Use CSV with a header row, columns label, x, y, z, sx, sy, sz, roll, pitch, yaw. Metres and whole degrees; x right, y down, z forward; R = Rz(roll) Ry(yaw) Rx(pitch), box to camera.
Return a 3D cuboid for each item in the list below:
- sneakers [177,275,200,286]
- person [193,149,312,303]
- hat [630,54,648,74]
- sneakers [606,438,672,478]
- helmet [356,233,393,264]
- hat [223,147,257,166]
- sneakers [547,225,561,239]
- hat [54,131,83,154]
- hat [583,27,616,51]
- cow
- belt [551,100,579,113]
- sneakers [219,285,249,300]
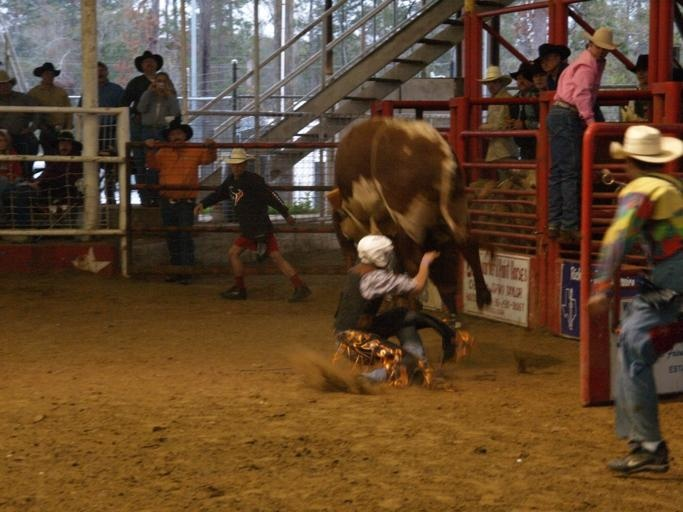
label,x,y,z,sx,sy,sz,roll,pitch,yaw
sneakers,-2.311,0.352,9.559,0.333,0.124,0.204,0,-4,-4
person,-1.156,-0.430,8.403,1.269,1.963,0.831,7,11,40
hat,3.671,-2.334,7.816,0.262,0.096,0.307,-1,-1,14
sneakers,1.576,1.064,3.368,0.129,0.139,0.328,16,-30,-41
helmet,0.225,-0.041,4.602,0.227,0.179,0.248,1,7,-2
hat,-1.368,-1.329,8.398,0.494,0.159,0.456,0,1,4
sneakers,2.078,-0.228,6.235,0.141,0.095,0.121,-4,7,-20
hat,-4.196,-1.724,9.788,0.368,0.374,0.435,-3,8,-20
hat,2.444,-2.043,5.989,0.263,0.244,0.350,2,8,18
cow,0.703,-0.305,5.345,0.980,1.583,1.847,5,9,30
belt,2.103,-1.401,5.972,0.165,0.030,0.144,8,16,-30
sneakers,-1.381,0.479,8.348,0.399,0.125,0.159,1,3,17
